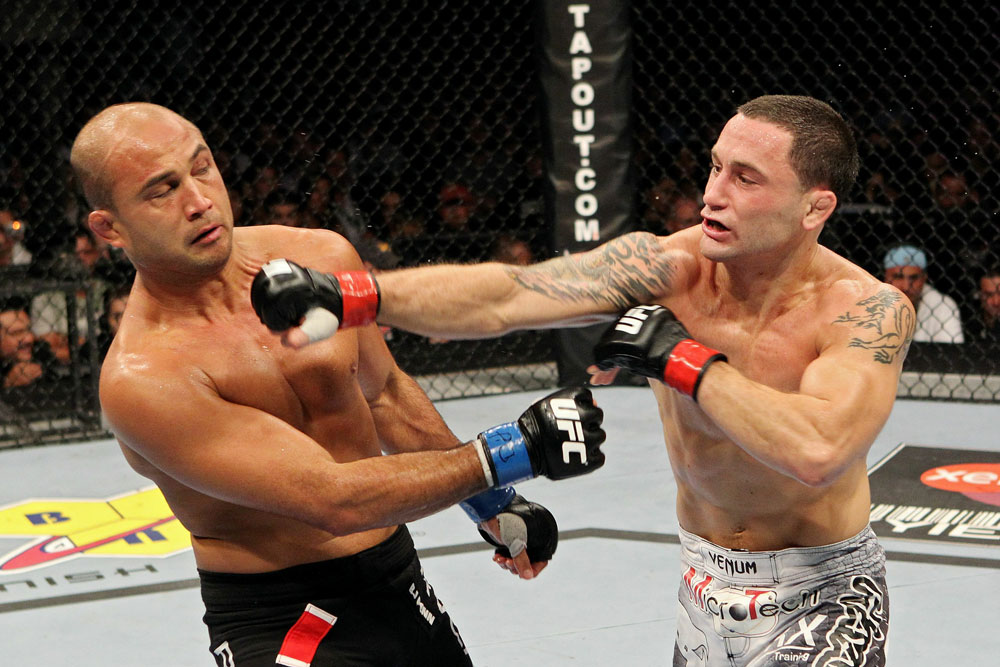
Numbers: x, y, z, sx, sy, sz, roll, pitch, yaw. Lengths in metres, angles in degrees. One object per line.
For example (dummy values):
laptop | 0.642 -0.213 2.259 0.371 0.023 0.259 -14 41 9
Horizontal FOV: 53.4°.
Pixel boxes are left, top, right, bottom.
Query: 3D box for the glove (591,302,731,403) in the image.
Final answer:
glove | 0.555 0.048 3.417 0.422 0.155 0.274 24 57 29

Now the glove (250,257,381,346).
glove | -0.680 -0.104 3.401 0.575 0.207 0.326 -5 13 -43

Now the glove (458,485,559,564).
glove | 0.025 0.719 4.009 0.236 0.174 0.417 -6 34 -46

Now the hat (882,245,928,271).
hat | 3.078 -0.571 7.540 0.227 0.125 0.220 0 2 5
